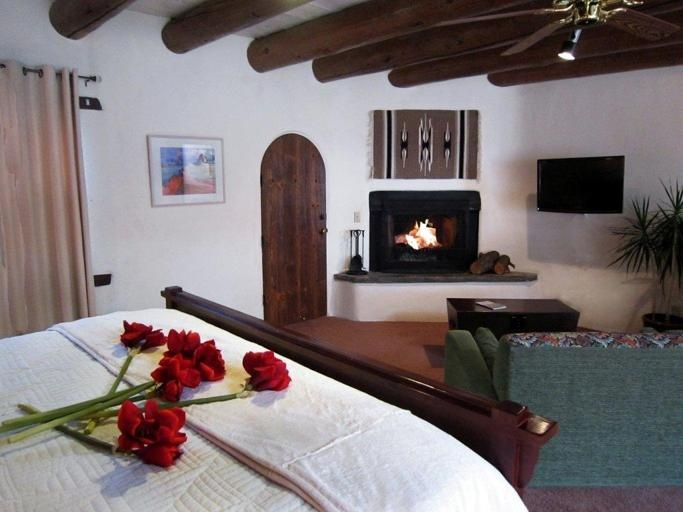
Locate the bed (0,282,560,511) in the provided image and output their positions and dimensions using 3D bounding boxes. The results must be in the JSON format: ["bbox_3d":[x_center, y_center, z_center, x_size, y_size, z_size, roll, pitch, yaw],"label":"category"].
[{"bbox_3d":[-0.129,0.765,2.316,1.850,0.762,1.026,16,8,26],"label":"bed"}]

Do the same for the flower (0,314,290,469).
[{"bbox_3d":[-0.641,0.475,1.724,0.495,0.182,0.593,25,18,19],"label":"flower"}]

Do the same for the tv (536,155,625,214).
[{"bbox_3d":[2.371,-0.700,4.800,0.649,0.452,0.067,3,10,36],"label":"tv"}]

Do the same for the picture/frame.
[{"bbox_3d":[-1.386,-0.758,4.266,0.703,0.561,0.047,-7,11,-40],"label":"picture/frame"}]
